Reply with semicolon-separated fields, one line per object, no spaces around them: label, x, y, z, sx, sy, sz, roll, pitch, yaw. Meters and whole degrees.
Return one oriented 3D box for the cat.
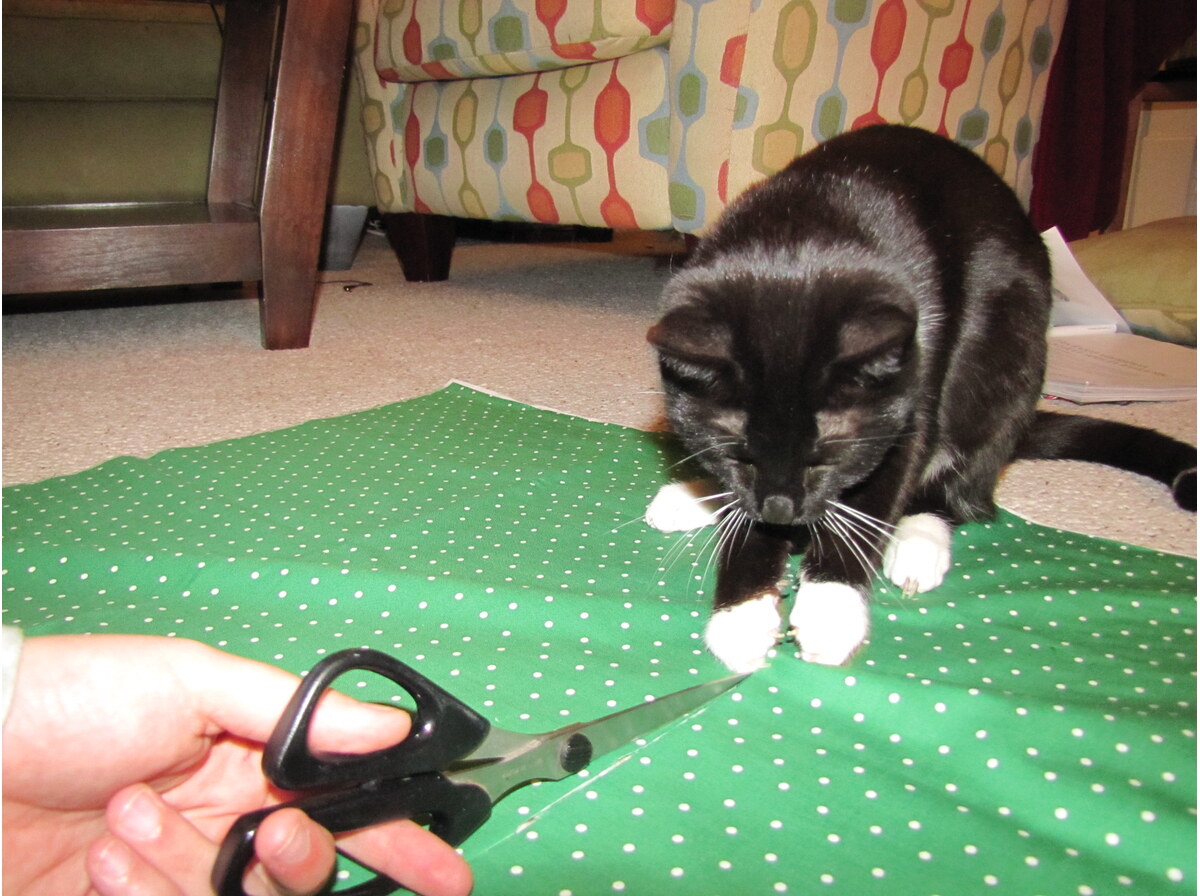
cat;0.302;-0.137;1.091;0.393;0.498;0.672;18;26;32
